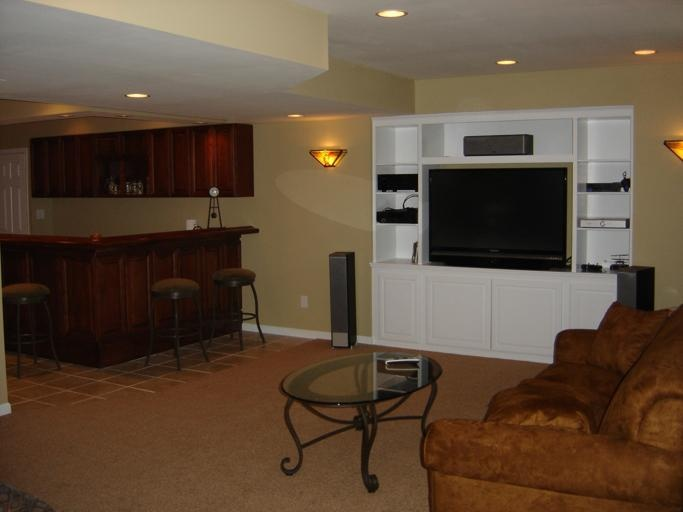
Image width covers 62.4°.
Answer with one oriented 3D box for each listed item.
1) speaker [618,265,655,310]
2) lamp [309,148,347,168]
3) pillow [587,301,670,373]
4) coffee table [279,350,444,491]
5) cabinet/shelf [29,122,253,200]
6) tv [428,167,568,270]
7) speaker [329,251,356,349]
[{"bbox_3d":[2.683,0.297,5.175,0.386,0.354,0.125,-6,6,-43],"label":"speaker"},{"bbox_3d":[-0.174,-1.166,6.691,0.488,0.231,0.168,2,8,15],"label":"lamp"},{"bbox_3d":[1.929,0.542,3.817,0.129,0.434,0.445,25,-5,-11],"label":"pillow"},{"bbox_3d":[0.105,0.893,3.783,0.732,0.517,1.055,6,9,37],"label":"coffee table"},{"bbox_3d":[-2.838,-1.276,7.786,3.632,0.916,0.354,3,9,25],"label":"cabinet/shelf"},{"bbox_3d":[1.743,-0.408,6.103,1.083,0.783,0.227,2,7,24],"label":"tv"},{"bbox_3d":[0.055,0.503,6.517,0.241,1.093,0.401,7,11,44],"label":"speaker"}]
